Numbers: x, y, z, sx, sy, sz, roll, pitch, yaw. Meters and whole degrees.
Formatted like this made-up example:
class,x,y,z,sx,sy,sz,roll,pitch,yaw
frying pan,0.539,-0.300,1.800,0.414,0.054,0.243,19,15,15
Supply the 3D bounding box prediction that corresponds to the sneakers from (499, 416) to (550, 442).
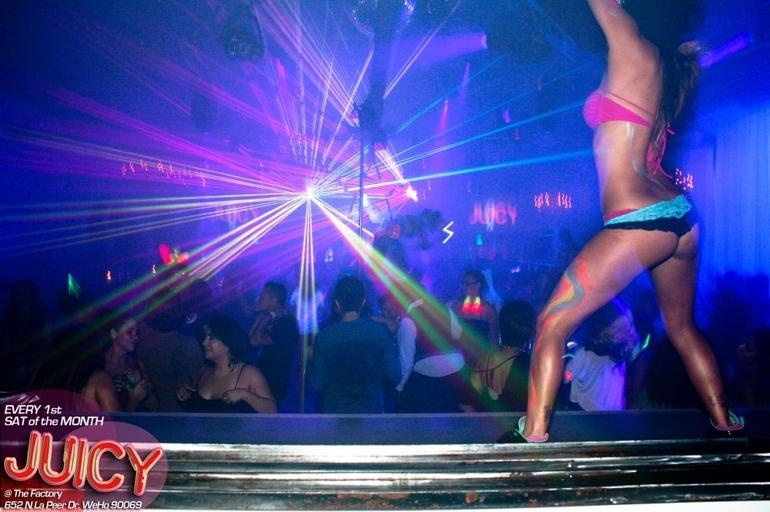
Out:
class,x,y,z,sx,sy,sz,roll,pitch,yaw
sneakers,1.124,1.469,5.207,0.177,0.182,0.489,11,-20,-43
